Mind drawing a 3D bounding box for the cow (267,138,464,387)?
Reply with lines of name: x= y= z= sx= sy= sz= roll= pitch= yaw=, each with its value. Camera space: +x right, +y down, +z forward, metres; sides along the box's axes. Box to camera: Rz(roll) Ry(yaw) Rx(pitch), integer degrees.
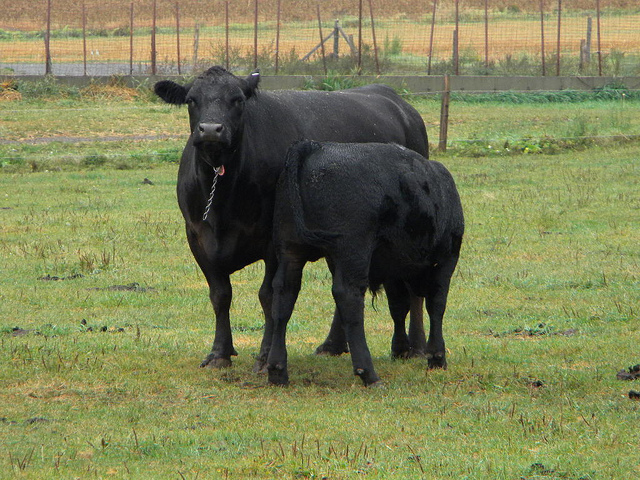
cow: x=0.764 y=0.369 z=25.933 sx=3.205 sy=4.180 sz=1.214 roll=0 pitch=7 yaw=1
